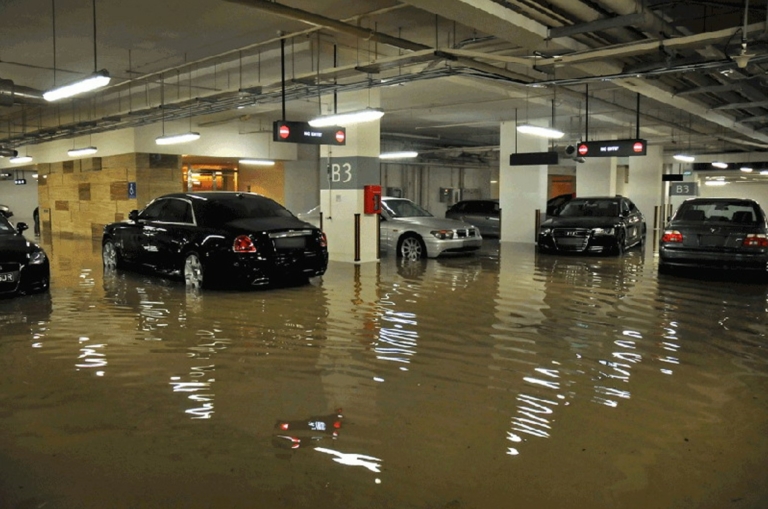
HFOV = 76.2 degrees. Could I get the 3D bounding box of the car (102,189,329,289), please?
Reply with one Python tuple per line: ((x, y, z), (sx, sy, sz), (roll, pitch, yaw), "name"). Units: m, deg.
((-3.616, -0.375, 9.999), (4.397, 1.826, 1.485), (6, 12, 30), "car")
